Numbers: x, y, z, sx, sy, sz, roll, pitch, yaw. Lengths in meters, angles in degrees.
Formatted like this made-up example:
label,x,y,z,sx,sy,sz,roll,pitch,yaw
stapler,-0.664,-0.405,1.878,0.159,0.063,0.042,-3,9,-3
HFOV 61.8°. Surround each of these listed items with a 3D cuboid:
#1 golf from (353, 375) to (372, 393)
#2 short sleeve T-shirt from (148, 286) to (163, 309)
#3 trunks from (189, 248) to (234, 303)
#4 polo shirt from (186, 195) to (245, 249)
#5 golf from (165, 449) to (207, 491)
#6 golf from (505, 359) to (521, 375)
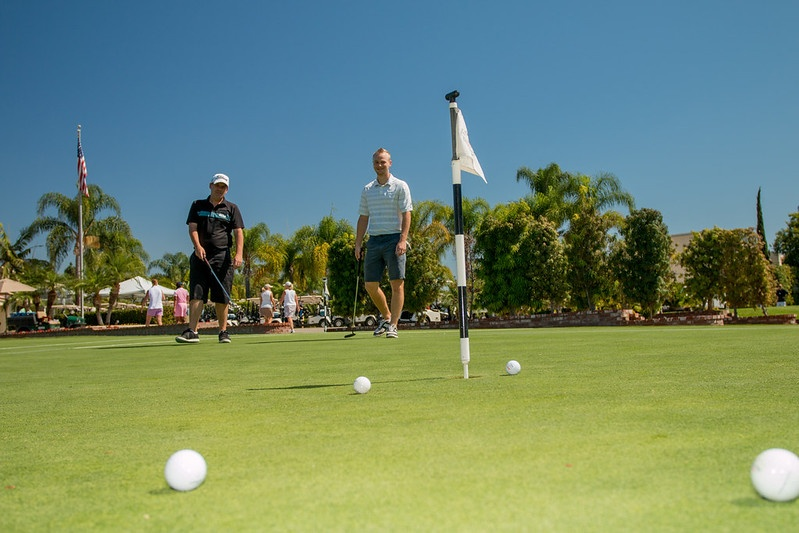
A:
label,x,y,z,sx,sy,sz,roll,pitch,yaw
golf,-0.232,0.761,4.289,0.088,0.097,0.094,-21,-52,31
short sleeve T-shirt,-8.829,1.105,24.098,0.407,0.860,0.507,-1,-1,-23
trunks,-2.723,0.186,9.445,0.627,0.900,0.485,8,-35,-37
polo shirt,-2.490,-0.578,8.949,0.875,0.864,0.480,3,-7,-37
golf,-0.833,0.789,2.600,0.141,0.176,0.139,0,0,21
golf,0.844,0.761,4.964,0.093,0.098,0.096,-24,26,-32
